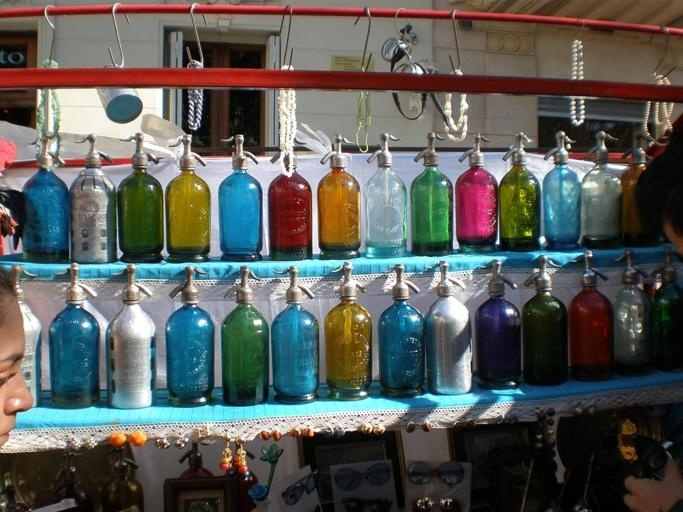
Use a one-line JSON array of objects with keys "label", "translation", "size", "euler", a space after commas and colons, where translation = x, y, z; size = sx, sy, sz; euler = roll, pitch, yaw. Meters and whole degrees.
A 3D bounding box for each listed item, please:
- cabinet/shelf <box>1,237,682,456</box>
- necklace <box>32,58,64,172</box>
[{"label": "cabinet/shelf", "translation": [-0.044, 0.286, 3.647], "size": [2.113, 0.476, 0.380], "euler": [-3, -1, -4]}, {"label": "necklace", "translation": [-1.035, -0.500, 3.865], "size": [0.090, 0.422, 0.866], "euler": [-2, -1, -15]}]
